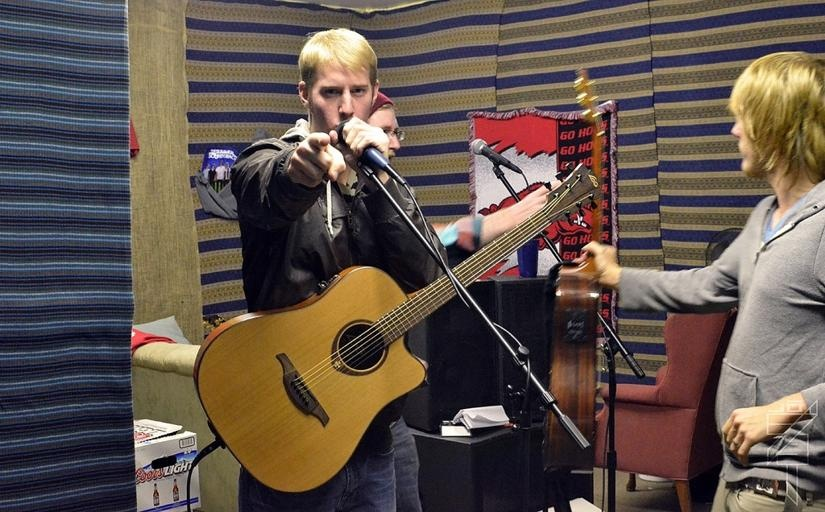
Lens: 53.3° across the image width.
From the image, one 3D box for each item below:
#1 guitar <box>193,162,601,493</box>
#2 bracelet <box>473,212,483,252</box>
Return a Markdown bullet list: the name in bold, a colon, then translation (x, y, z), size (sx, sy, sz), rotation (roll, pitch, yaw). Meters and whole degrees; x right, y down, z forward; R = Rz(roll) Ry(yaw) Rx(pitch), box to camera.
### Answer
- **guitar**: translation (-0.084, 0.206, 3.007), size (1.480, 0.601, 0.177), rotation (-35, 2, -21)
- **bracelet**: translation (0.240, -0.092, 3.063), size (0.025, 0.099, 0.060), rotation (7, -12, -2)
